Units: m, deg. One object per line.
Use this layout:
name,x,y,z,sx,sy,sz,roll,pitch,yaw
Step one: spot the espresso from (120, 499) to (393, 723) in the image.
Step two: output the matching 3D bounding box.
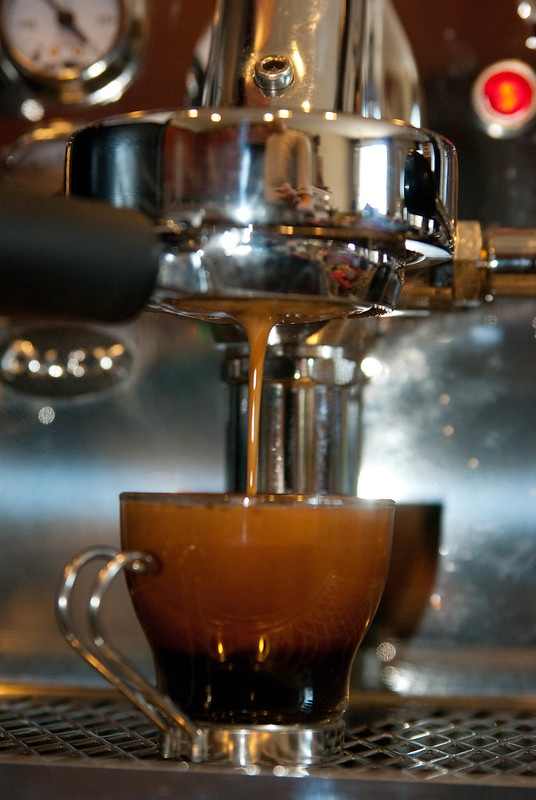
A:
espresso,-0.011,0.088,0.351,0.119,0.084,0.115,-6,-11,17
